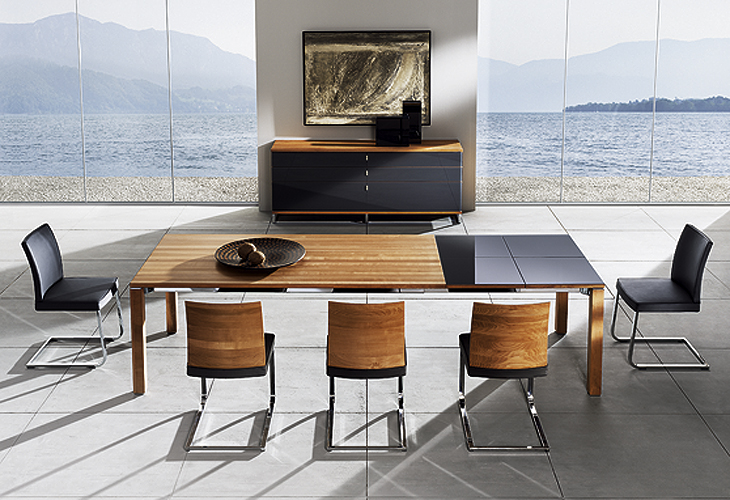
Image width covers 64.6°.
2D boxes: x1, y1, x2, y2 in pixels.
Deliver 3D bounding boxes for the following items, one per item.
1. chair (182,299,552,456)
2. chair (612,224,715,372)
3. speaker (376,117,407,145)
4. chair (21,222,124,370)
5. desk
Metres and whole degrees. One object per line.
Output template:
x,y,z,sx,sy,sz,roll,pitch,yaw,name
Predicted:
0.491,0.803,3.988,1.537,1.009,0.569,0,16,0,chair
2.492,0.358,4.866,0.917,0.938,0.881,-8,10,-3,chair
0.377,-1.690,8.153,0.498,0.324,0.201,-1,10,-1,speaker
-2.485,0.361,4.915,0.920,0.951,0.826,6,11,-5,chair
0.006,0.365,4.832,3.521,0.694,1.307,-1,20,-2,desk
